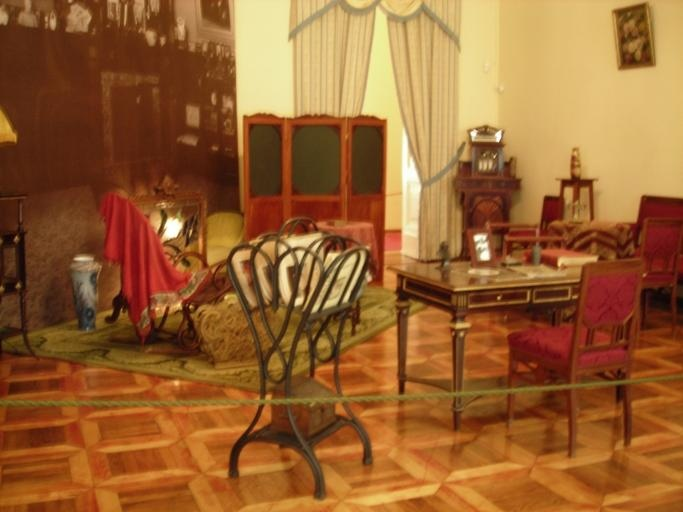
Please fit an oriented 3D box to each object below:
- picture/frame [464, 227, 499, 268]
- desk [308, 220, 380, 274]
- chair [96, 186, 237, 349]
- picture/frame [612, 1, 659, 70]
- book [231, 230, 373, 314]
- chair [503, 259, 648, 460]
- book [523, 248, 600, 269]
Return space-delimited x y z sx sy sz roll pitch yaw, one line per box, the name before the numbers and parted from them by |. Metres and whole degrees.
picture/frame | 0.973 -0.055 4.314 0.235 0.271 0.062 -2 -6 -27
desk | 0.049 -0.139 6.813 0.670 0.674 0.602 2 4 19
chair | -1.716 0.084 5.492 0.950 1.157 0.819 5 4 -33
picture/frame | 3.579 -2.661 7.257 0.112 0.732 0.608 -4 11 -19
book | -0.313 0.036 3.146 0.449 0.270 0.573 2 2 -43
chair | 1.430 0.553 3.668 0.770 1.131 0.655 3 11 14
book | 1.648 0.013 4.401 0.373 0.089 0.373 -6 11 -35
